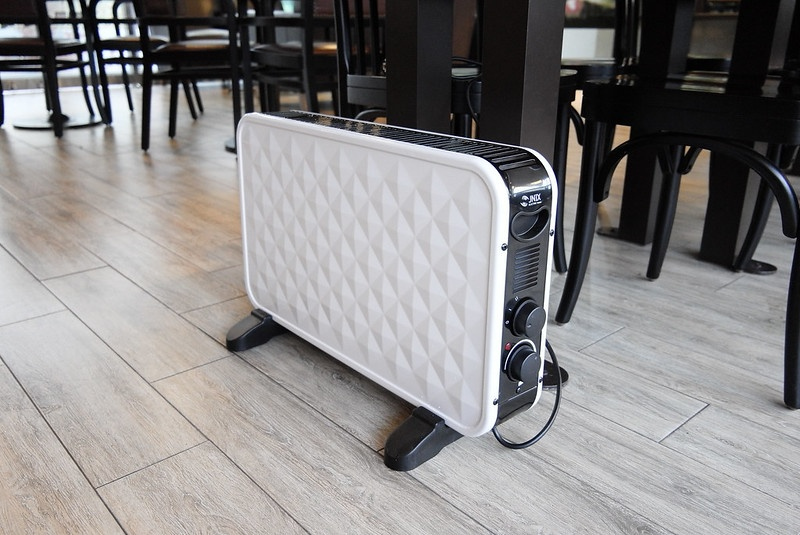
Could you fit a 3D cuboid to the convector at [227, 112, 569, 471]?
[{"bbox_3d":[-0.049,-0.018,1.314,0.868,0.602,0.456,22,30,39],"label":"convector"}]
